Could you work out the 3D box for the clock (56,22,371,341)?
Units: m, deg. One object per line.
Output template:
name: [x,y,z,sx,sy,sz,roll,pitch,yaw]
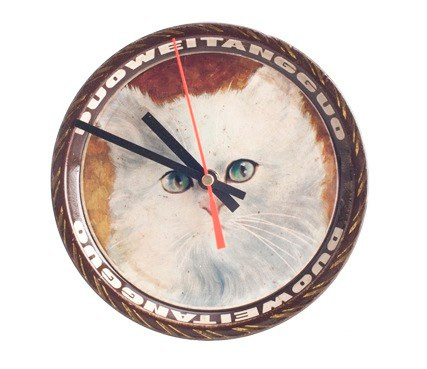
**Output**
clock: [-0.035,-0.010,3.043,1.153,0.109,1.042,-4,-90,-32]
